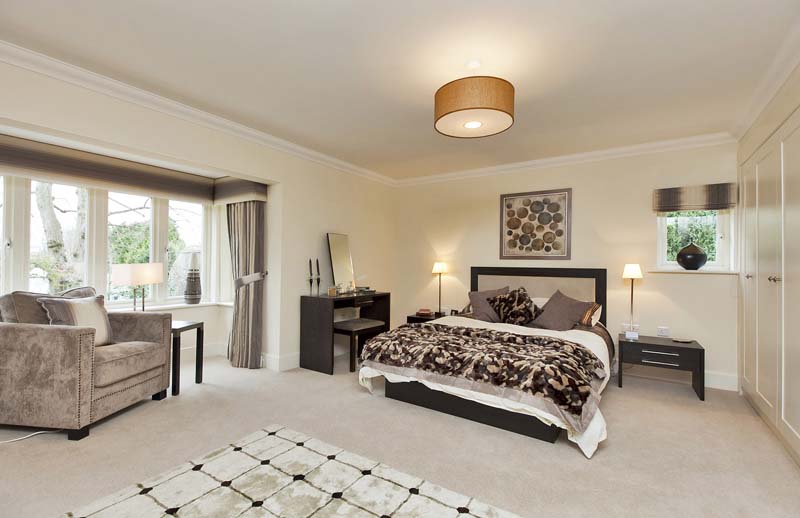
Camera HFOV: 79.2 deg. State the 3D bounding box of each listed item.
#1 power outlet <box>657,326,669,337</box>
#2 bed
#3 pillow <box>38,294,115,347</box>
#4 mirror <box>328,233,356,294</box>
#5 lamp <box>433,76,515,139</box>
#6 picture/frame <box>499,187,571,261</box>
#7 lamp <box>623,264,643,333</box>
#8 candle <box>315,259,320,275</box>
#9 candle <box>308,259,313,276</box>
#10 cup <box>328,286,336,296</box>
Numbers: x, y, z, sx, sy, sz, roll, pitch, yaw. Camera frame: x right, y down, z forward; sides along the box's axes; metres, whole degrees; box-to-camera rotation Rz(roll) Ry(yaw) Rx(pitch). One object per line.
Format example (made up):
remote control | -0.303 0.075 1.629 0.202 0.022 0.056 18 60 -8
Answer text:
power outlet | 3.396 0.949 6.223 0.127 0.114 0.126 -3 -7 31
bed | 1.505 1.187 5.735 1.918 1.037 2.054 0 -1 34
pillow | -3.408 0.661 5.049 0.263 0.482 0.533 -18 -9 24
mirror | -0.821 0.048 7.159 0.276 0.881 0.472 -1 -1 31
lamp | 0.752 -1.504 4.922 0.835 0.279 0.809 1 -8 -13
picture/frame | 2.024 -0.507 7.032 1.145 1.104 0.048 0 1 31
lamp | 3.040 0.507 6.274 0.236 0.777 0.366 -1 -1 26
candle | -1.163 0.122 6.912 0.017 0.237 0.089 -1 -1 29
candle | -1.250 0.120 6.810 0.067 0.233 0.014 0 -1 -40
cup | -0.944 0.472 6.760 0.122 0.113 0.118 0 2 0
